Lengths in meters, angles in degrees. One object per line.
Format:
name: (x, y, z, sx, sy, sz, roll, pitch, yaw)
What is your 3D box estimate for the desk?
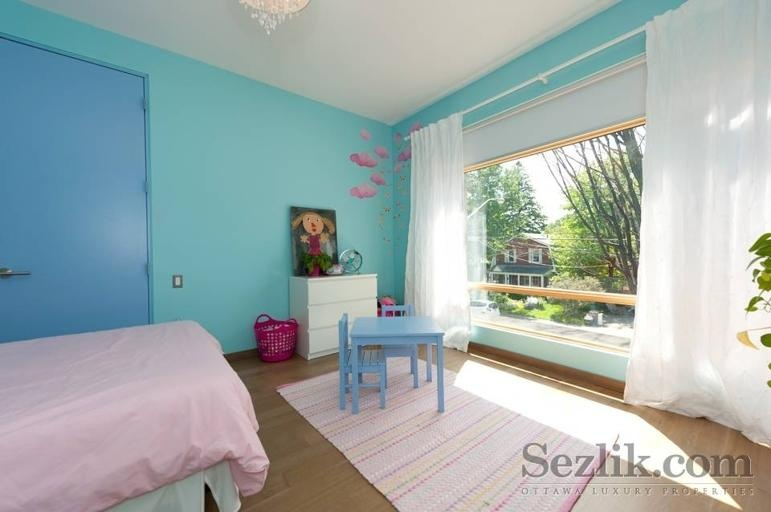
desk: (0.088, 1.003, 4.183, 1.055, 0.714, 1.030, -2, 2, -28)

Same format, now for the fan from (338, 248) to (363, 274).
fan: (-0.430, 0.088, 5.663, 0.179, 0.292, 0.299, 11, -7, 45)

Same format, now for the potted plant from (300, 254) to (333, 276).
potted plant: (-0.796, 0.102, 5.195, 0.284, 0.203, 0.271, 3, -5, -28)

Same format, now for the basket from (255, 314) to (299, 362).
basket: (-1.195, 0.940, 5.017, 0.515, 0.492, 0.444, 0, -3, 12)
